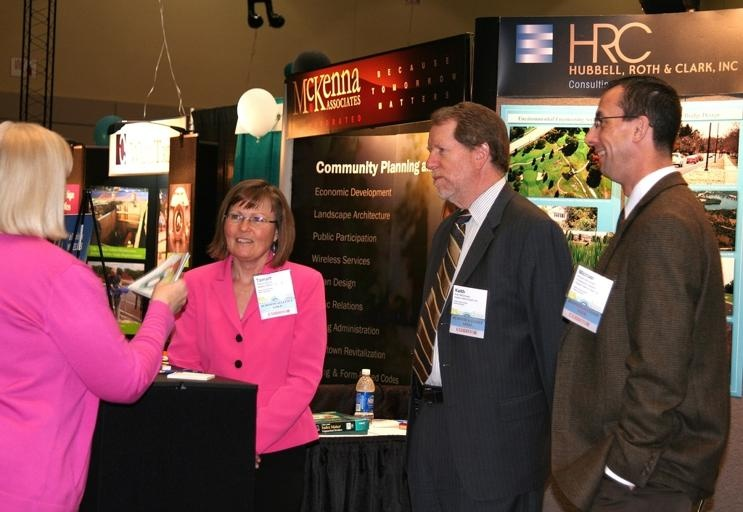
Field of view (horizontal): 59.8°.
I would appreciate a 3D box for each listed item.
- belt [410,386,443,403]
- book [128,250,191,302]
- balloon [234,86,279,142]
[{"bbox_3d":[0.223,0.547,2.580,0.086,0.036,0.066,2,2,14],"label":"belt"},{"bbox_3d":[-0.762,0.070,2.334,0.183,0.067,0.179,-41,-3,-13],"label":"book"},{"bbox_3d":[-1.084,-1.356,6.265,0.374,0.461,0.382,14,18,34],"label":"balloon"}]
